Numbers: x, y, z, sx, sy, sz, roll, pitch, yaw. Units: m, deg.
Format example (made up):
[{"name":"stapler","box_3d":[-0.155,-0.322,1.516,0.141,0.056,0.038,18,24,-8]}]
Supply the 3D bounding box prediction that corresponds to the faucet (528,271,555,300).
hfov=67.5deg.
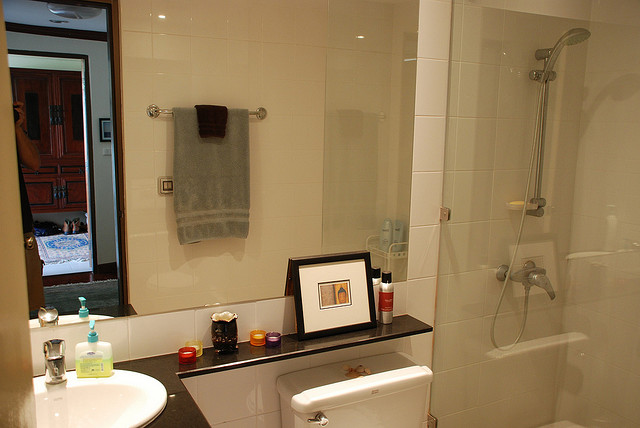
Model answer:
[{"name":"faucet","box_3d":[0.952,0.306,2.073,0.058,0.114,0.059,-20,-24,-1]}]

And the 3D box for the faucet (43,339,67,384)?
[{"name":"faucet","box_3d":[-0.998,0.557,1.800,0.076,0.146,0.081,-4,-3,-34]}]
